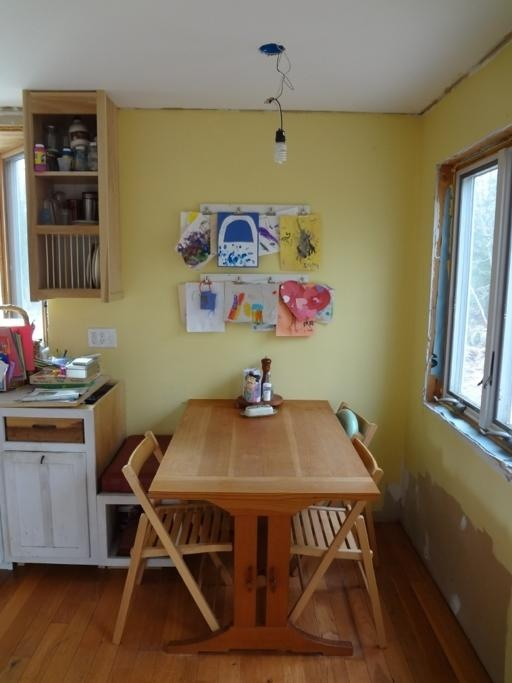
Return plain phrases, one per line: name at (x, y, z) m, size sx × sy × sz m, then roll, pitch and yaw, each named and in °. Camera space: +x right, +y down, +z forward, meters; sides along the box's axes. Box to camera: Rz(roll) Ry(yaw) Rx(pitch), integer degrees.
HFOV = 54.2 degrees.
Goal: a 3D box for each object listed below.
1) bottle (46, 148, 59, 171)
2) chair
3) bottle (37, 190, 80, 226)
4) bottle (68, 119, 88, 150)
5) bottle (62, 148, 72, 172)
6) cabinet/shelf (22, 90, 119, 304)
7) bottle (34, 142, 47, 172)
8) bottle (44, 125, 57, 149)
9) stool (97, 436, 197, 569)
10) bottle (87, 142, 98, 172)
bottle at (-0.956, -0.855, 2.369) m, size 0.036 × 0.106 × 0.095 m, roll 2°, pitch 9°, yaw 14°
chair at (-0.002, 0.628, 1.938) m, size 0.736 × 0.540 × 0.993 m, roll 1°, pitch 8°, yaw 3°
bottle at (-0.964, -0.663, 2.467) m, size 0.200 × 0.220 × 0.155 m, roll -3°, pitch 13°, yaw -25°
bottle at (-0.839, -0.972, 2.350) m, size 0.096 × 0.143 × 0.071 m, roll 0°, pitch 8°, yaw -4°
bottle at (-0.881, -0.843, 2.326) m, size 0.046 × 0.119 × 0.097 m, roll -2°, pitch 9°, yaw -14°
cabinet/shelf at (-0.882, -0.679, 2.444) m, size 0.420 × 0.942 × 0.418 m, roll -2°, pitch 9°, yaw -15°
bottle at (-0.995, -0.839, 2.295) m, size 0.049 × 0.122 × 0.033 m, roll -2°, pitch 9°, yaw -17°
bottle at (-0.975, -0.958, 2.366) m, size 0.051 × 0.112 × 0.062 m, roll 0°, pitch 8°, yaw 0°
stool at (-0.510, 0.788, 2.498) m, size 0.646 × 0.504 × 0.444 m, roll 0°, pitch 4°, yaw -5°
bottle at (-0.770, -0.868, 2.347) m, size 0.039 × 0.136 × 0.089 m, roll -4°, pitch 9°, yaw -27°
